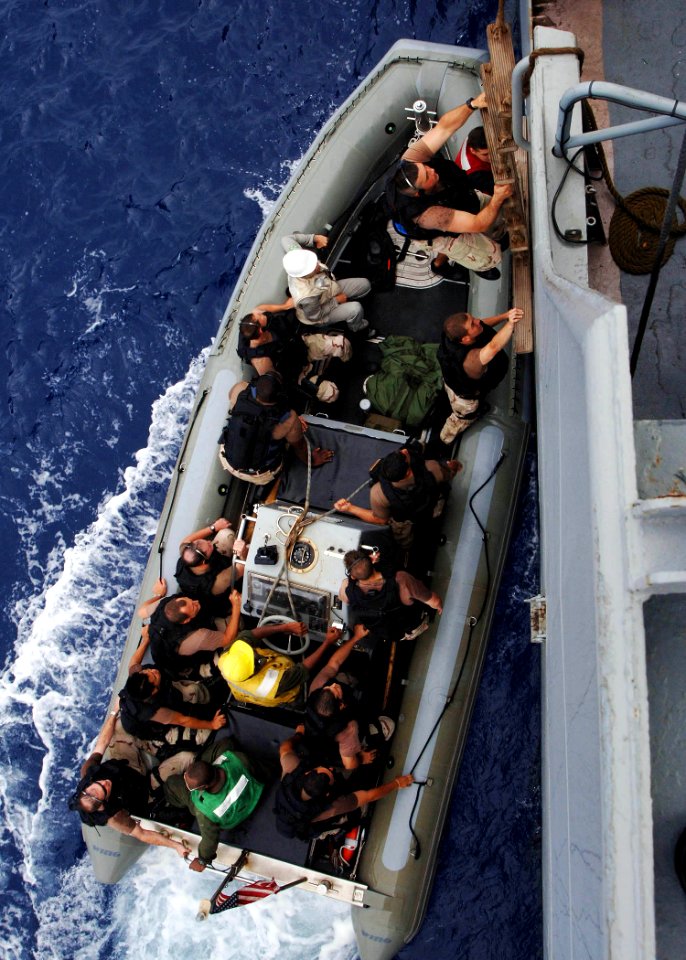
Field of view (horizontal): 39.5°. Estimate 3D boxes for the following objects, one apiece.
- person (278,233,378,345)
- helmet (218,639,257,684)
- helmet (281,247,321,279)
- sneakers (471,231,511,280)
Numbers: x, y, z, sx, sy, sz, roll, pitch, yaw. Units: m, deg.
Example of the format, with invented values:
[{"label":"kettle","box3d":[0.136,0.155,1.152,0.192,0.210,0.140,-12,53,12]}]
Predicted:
[{"label":"person","box3d":[-0.120,-1.478,7.527,0.619,1.006,0.656,-14,87,4]},{"label":"helmet","box3d":[-0.650,1.185,6.110,0.220,0.103,0.280,25,103,20]},{"label":"helmet","box3d":[-0.293,-1.603,7.042,0.245,0.127,0.192,-5,90,26]},{"label":"sneakers","box3d":[1.138,-1.666,7.155,0.135,0.423,0.175,15,51,12]}]
